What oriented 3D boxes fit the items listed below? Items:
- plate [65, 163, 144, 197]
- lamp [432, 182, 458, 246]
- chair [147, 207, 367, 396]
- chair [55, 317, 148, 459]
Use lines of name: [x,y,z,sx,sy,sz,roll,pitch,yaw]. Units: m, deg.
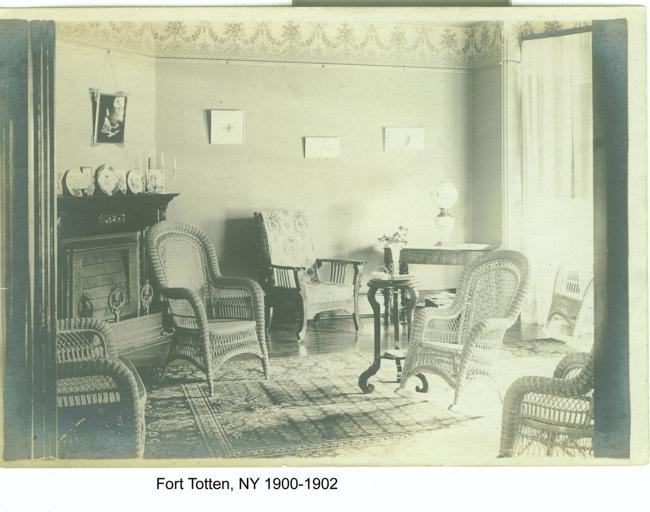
plate: [-1.437,-0.497,4.978,0.556,0.191,0.136,-9,12,-41]
lamp: [0.837,-0.311,5.319,0.156,0.428,0.326,2,10,15]
chair: [-0.475,0.232,5.058,1.029,1.354,0.854,1,2,43]
chair: [-1.219,0.723,4.226,0.410,0.810,0.743,-8,11,-34]
